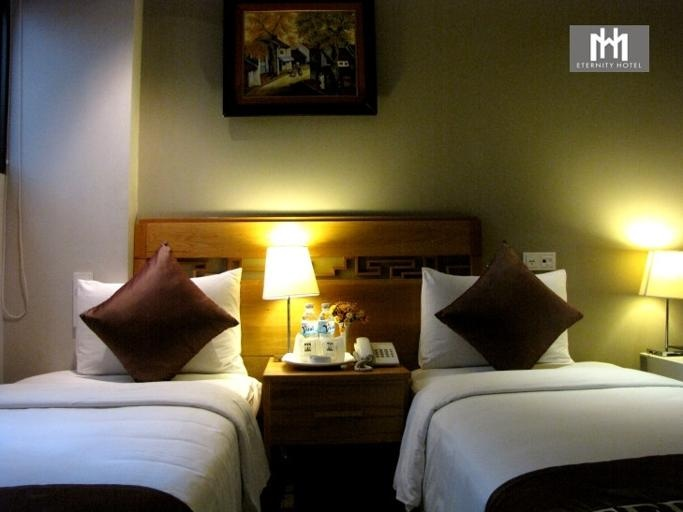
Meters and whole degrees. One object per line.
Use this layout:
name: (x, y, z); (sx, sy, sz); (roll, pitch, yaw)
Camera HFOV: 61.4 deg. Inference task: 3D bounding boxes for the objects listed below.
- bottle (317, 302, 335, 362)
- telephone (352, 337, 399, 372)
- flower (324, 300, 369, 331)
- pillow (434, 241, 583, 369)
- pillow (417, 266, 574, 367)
bottle: (-0.092, 0.430, 3.256); (0.086, 0.330, 0.090); (2, -7, 0)
telephone: (0.195, 0.544, 3.216); (0.182, 0.060, 0.183); (-2, 20, -4)
flower: (0.015, 0.347, 3.419); (0.150, 0.151, 0.167); (12, -8, -23)
pillow: (0.920, 0.288, 3.199); (0.719, 0.594, 0.324); (-3, 7, -25)
pillow: (0.913, 0.263, 3.389); (0.669, 0.211, 0.752); (-8, 1, 21)
